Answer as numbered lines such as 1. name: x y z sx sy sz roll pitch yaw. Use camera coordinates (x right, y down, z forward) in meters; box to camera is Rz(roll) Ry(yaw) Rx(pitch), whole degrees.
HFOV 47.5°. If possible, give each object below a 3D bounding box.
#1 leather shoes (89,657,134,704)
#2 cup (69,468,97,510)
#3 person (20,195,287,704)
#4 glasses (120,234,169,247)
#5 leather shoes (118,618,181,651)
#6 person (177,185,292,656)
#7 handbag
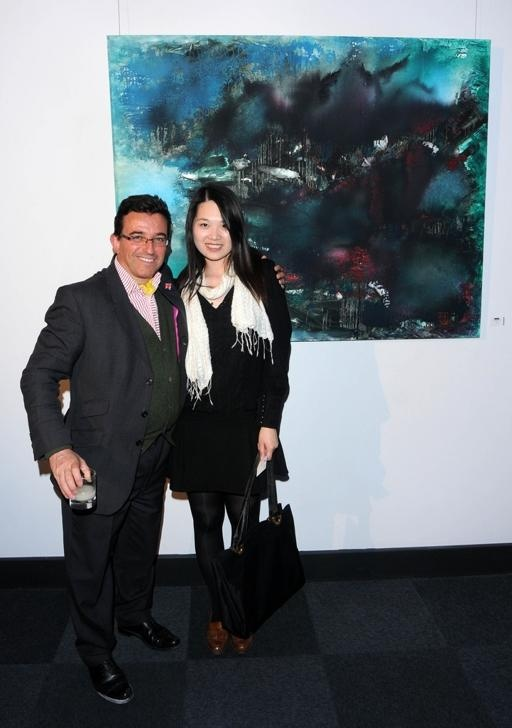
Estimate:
1. leather shoes: -0.490 1.067 1.956 0.072 0.077 0.195 -7 14 -38
2. cup: -0.503 0.379 1.750 0.090 0.104 0.092 0 -1 0
3. person: -0.491 0.275 1.964 0.358 1.656 0.555 6 10 38
4. glasses: -0.363 -0.404 1.899 0.155 0.040 0.064 -3 9 -17
5. leather shoes: -0.410 1.016 2.267 0.242 0.103 0.094 11 18 22
6. person: -0.148 0.236 2.083 0.464 1.580 0.402 -6 13 -22
7. handbag: 0.006 0.634 1.971 0.144 0.417 0.408 9 19 38
